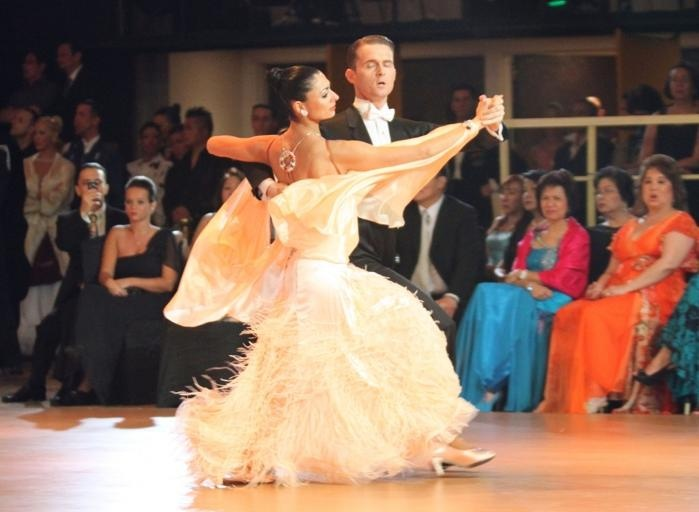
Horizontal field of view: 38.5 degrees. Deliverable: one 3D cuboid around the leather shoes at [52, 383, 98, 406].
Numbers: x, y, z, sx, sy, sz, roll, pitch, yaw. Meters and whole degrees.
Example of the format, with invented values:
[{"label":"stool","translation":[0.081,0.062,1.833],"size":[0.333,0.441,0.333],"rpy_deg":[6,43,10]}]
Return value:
[{"label":"leather shoes","translation":[-1.815,0.951,6.813],"size":[0.351,0.116,0.109],"rpy_deg":[6,-4,-17]}]
